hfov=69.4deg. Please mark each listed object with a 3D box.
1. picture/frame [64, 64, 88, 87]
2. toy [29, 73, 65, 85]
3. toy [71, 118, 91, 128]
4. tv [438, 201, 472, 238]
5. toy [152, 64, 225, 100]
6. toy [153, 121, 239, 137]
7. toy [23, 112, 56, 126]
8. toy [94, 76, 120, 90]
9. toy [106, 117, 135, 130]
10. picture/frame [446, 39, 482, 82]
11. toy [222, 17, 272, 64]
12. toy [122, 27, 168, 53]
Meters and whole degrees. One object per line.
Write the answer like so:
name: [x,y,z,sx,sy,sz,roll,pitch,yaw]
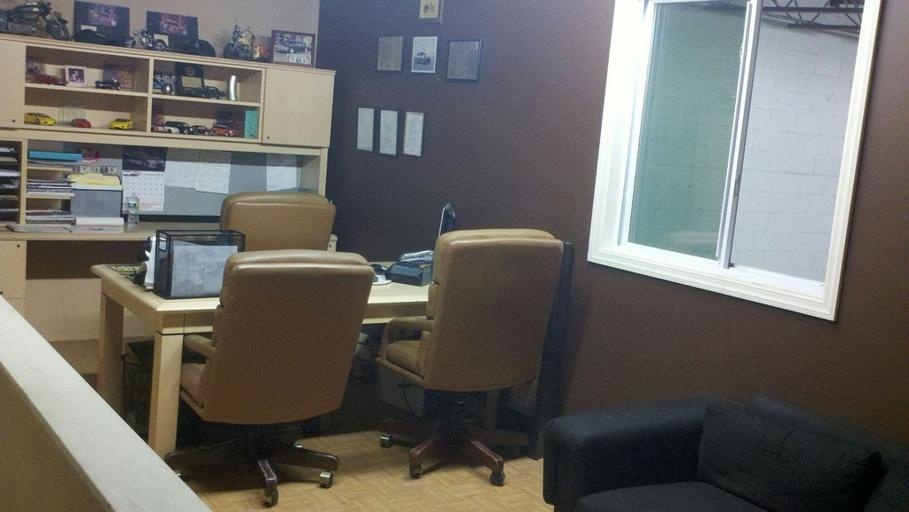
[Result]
picture/frame: [-3.327,-1.574,5.761,0.169,0.169,0.091,-7,12,-26]
toy: [-3.500,-1.506,5.633,0.267,0.098,0.232,-7,11,-30]
toy: [-3.260,-1.153,5.714,0.131,0.073,0.097,-7,11,-30]
tv: [-0.023,-0.261,4.705,0.081,0.269,0.228,9,5,19]
toy: [-2.471,-1.592,6.019,0.400,0.301,0.125,-1,-4,-30]
toy: [-2.408,-1.169,6.127,0.492,0.078,0.274,-1,5,-28]
toy: [-3.534,-1.157,5.586,0.215,0.106,0.211,-7,11,-29]
toy: [-3.064,-1.513,5.799,0.208,0.123,0.274,-6,10,-26]
toy: [-3.000,-1.185,5.910,0.191,0.116,0.312,-6,10,-24]
picture/frame: [0.088,-1.543,5.196,0.040,0.364,0.400,-6,11,-42]
toy: [-2.003,-2.026,6.287,0.352,0.149,0.449,-2,-5,1]
toy: [-2.790,-1.940,5.930,0.348,0.157,0.162,4,4,-21]
